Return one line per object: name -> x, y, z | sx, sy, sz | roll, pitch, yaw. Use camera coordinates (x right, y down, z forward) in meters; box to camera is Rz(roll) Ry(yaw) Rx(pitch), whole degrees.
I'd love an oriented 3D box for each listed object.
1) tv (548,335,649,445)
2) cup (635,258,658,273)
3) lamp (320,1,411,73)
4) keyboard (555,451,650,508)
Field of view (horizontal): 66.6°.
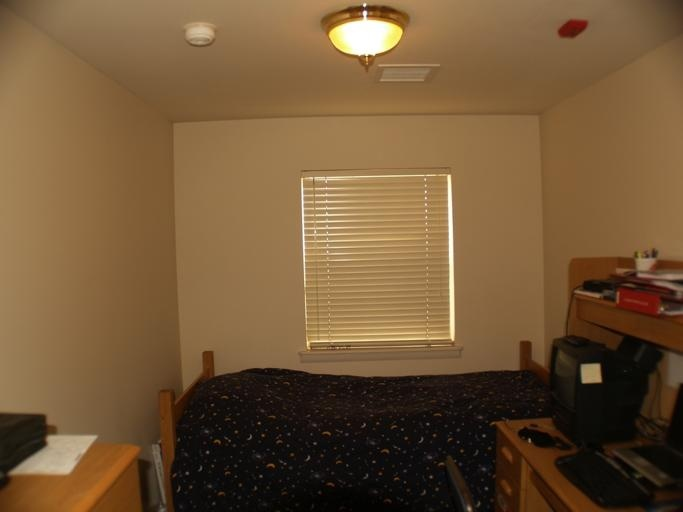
tv -> 1.274, 0.688, 2.831 | 0.506, 0.593, 0.457 | -1, 1, 0
cup -> 1.616, 0.060, 2.751 | 0.086, 0.055, 0.088 | 2, -6, 0
lamp -> 0.117, -1.144, 2.726 | 0.308, 0.169, 0.307 | -1, -7, 0
keyboard -> 1.181, 1.015, 2.363 | 0.275, 0.106, 0.339 | -3, 8, -19
